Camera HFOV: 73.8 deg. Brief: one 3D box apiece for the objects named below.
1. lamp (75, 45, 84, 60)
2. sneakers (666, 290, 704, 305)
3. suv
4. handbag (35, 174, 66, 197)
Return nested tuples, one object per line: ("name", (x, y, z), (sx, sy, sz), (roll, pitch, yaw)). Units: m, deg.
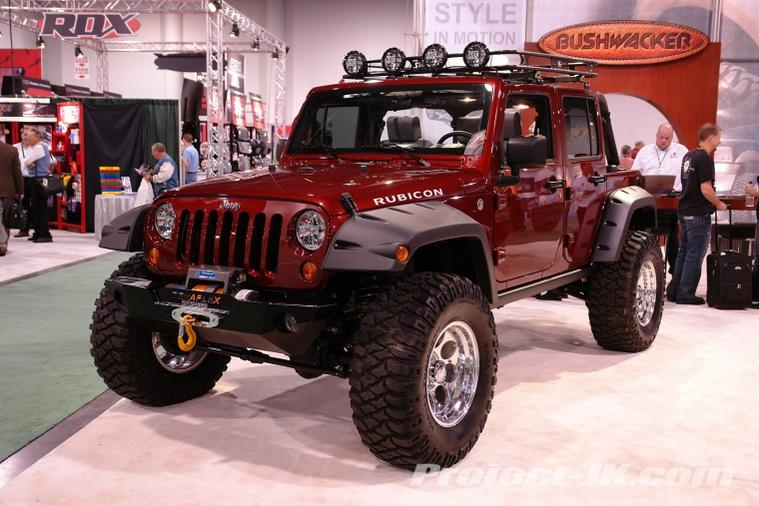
("lamp", (-13.923, -9.254, 23.342), (0.417, 0.469, 1.215), (-8, 16, -32))
("sneakers", (4.697, 0.668, 7.742), (0.524, 0.222, 0.191), (0, 2, 18))
("suv", (0.633, -0.161, 4.990), (2.888, 2.880, 5.314), (0, 0, 39))
("handbag", (-8.340, -1.736, 12.773), (0.261, 0.581, 0.645), (-15, 8, 40))
